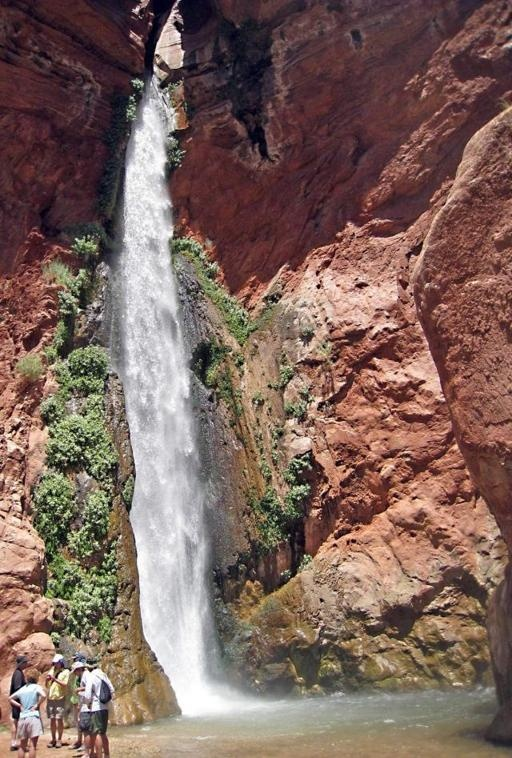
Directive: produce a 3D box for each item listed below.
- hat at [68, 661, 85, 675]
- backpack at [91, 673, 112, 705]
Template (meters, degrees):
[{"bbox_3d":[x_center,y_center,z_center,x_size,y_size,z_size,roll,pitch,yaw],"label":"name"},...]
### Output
[{"bbox_3d":[-2.508,4.067,9.944,0.120,0.109,0.189,-18,-11,-6],"label":"hat"},{"bbox_3d":[-1.998,4.096,9.208,0.270,0.343,0.167,1,-14,-29],"label":"backpack"}]
